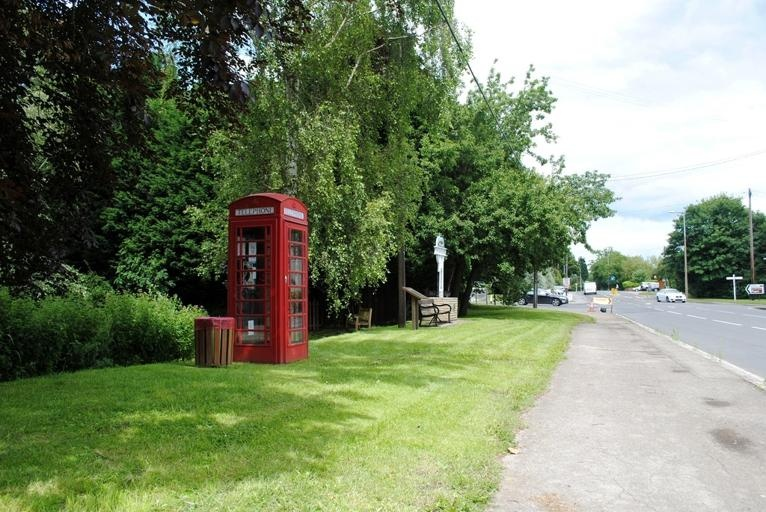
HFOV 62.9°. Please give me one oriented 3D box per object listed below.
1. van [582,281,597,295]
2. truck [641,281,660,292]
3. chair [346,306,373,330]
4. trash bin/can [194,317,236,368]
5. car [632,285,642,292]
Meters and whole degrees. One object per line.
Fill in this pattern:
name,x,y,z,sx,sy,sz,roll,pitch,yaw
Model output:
van,43.872,6.848,132.959,2.572,2.612,4.067,1,-1,12
truck,61.618,6.970,144.861,4.075,2.319,2.911,1,-2,41
chair,-1.048,2.708,27.128,0.937,1.339,0.891,-8,-12,43
trash bin/can,-3.489,1.743,12.976,0.872,0.974,0.834,1,0,-29
car,63.909,8.192,157.258,1.251,1.092,2.082,1,2,-16
